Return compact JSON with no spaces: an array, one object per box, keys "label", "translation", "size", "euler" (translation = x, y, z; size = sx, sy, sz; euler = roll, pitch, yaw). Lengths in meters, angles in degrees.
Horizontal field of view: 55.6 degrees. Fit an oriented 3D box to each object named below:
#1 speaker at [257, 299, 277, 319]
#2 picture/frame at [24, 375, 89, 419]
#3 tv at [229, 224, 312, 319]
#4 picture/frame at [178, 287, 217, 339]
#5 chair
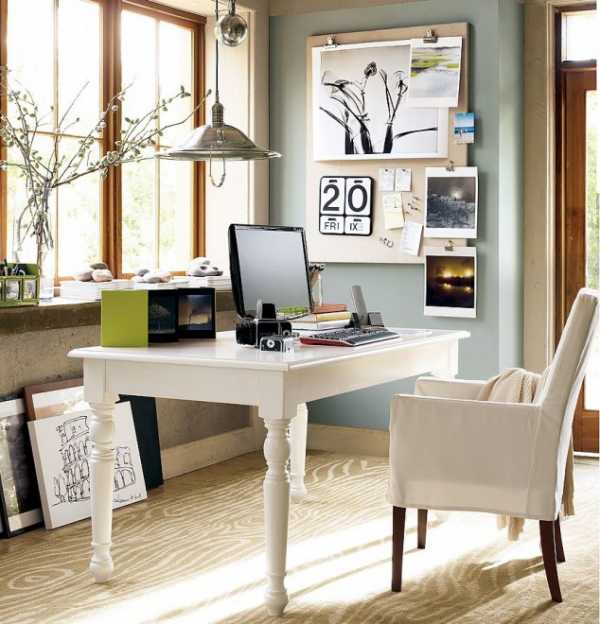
[{"label":"speaker","translation":[-0.099,-0.006,1.857],"size":[0.058,0.072,0.053],"euler":[0,1,22]},{"label":"picture/frame","translation":[-1.055,0.366,2.430],"size":[0.018,0.169,0.278],"euler":[-11,-3,31]},{"label":"tv","translation":[-0.098,-0.165,2.089],"size":[0.149,0.382,0.502],"euler":[0,-2,21]},{"label":"picture/frame","translation":[-0.365,0.000,1.973],"size":[0.159,0.221,0.023],"euler":[-4,11,-32]},{"label":"chair","translation":[0.586,0.353,2.118],"size":[0.801,1.230,0.677],"euler":[1,0,20]}]
